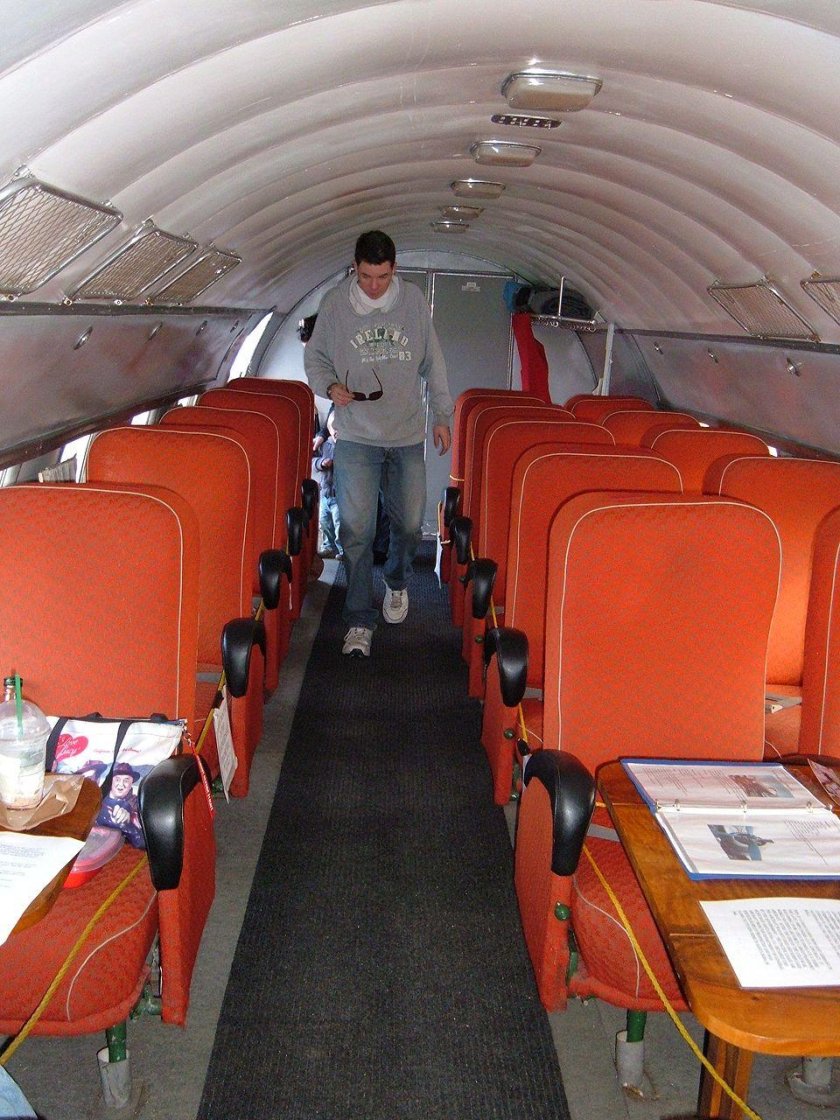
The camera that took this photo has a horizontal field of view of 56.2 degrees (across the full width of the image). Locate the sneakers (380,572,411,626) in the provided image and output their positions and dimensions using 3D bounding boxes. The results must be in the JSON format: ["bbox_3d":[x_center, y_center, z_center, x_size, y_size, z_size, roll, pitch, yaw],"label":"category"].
[{"bbox_3d":[-0.212,0.311,6.112,0.164,0.388,0.165,-3,-9,1],"label":"sneakers"}]

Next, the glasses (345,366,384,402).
[{"bbox_3d":[-0.330,-1.069,4.829,0.201,0.201,0.372,2,11,-6],"label":"glasses"}]

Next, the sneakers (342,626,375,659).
[{"bbox_3d":[-0.433,0.572,5.383,0.203,0.191,0.461,2,-5,-4],"label":"sneakers"}]
